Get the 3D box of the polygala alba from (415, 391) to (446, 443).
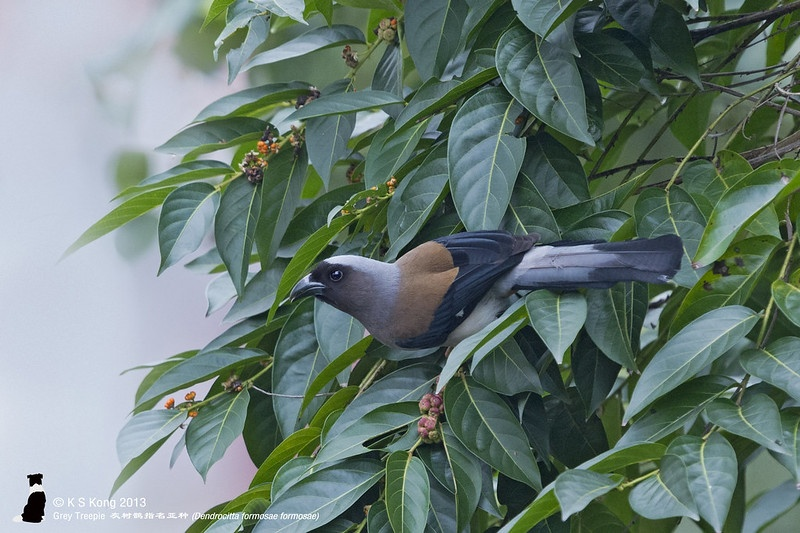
[{"bbox_3d":[0.097,0.461,3.669,0.089,0.140,0.053,10,-12,-20],"label":"polygala alba"}]
